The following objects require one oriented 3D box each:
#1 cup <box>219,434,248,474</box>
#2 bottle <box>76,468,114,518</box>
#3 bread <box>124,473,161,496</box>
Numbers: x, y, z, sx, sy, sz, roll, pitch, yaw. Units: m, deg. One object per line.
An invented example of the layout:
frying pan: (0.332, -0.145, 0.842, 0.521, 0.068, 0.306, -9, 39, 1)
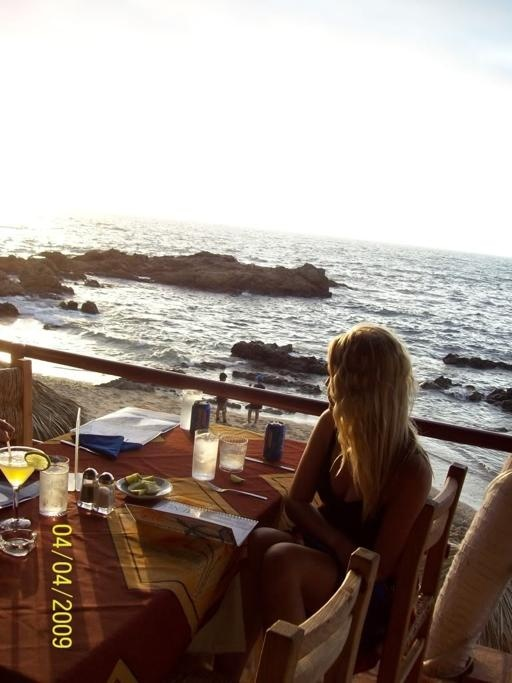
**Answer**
cup: (-0.069, 0.341, 1.540, 0.105, 0.094, 0.091, 4, 0, -25)
bottle: (-0.350, 0.335, 1.111, 0.078, 0.095, 0.035, 10, 14, 17)
bread: (-0.267, 0.340, 1.203, 0.053, 0.020, 0.051, 12, 14, -1)
